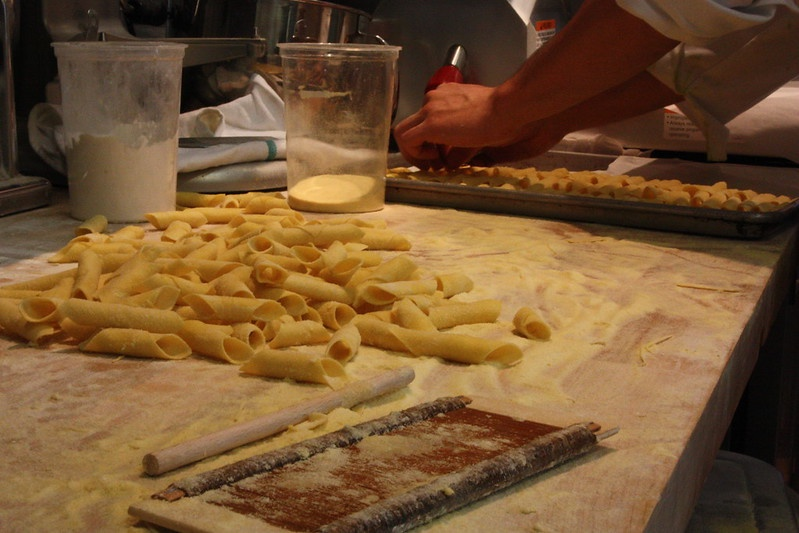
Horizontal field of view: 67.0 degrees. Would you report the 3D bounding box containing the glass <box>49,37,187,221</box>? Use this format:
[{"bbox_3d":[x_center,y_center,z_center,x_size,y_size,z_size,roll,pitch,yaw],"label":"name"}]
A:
[{"bbox_3d":[-0.547,-0.283,1.361,0.410,0.347,0.307,3,9,-7],"label":"glass"}]

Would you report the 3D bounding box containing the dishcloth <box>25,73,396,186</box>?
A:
[{"bbox_3d":[-0.459,-0.313,1.573,0.517,0.121,0.472,6,13,31],"label":"dishcloth"}]

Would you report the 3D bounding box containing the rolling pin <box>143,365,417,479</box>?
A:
[{"bbox_3d":[-0.112,0.155,0.631,0.279,0.018,0.021,-17,31,-13],"label":"rolling pin"}]
